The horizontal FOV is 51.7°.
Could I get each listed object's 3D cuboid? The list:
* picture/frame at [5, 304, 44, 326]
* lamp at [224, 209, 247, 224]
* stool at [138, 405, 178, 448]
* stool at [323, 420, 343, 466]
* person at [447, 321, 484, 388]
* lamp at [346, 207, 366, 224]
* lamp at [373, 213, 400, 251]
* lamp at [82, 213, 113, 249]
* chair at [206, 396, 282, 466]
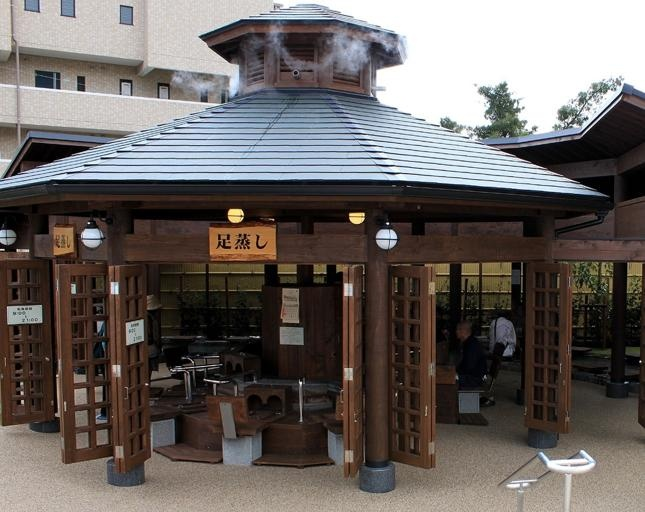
[{"bbox_3d":[-4.972,0.979,11.090,0.563,0.358,0.150,-3,5,-30],"label":"picture/frame"},{"bbox_3d":[-1.288,-0.583,9.864,0.340,0.263,0.320,0,1,2],"label":"lamp"},{"bbox_3d":[-2.566,2.802,10.657,0.598,0.435,0.615,-11,-15,18],"label":"stool"},{"bbox_3d":[0.174,2.764,9.918,0.225,0.569,0.471,-2,5,-20],"label":"stool"},{"bbox_3d":[2.647,1.804,12.348,0.858,1.115,0.806,-5,3,26],"label":"person"},{"bbox_3d":[0.531,-0.627,10.427,0.350,0.226,0.329,0,1,0],"label":"lamp"},{"bbox_3d":[0.993,-0.273,8.879,0.424,0.503,0.426,1,1,38],"label":"lamp"},{"bbox_3d":[-3.197,-0.312,9.410,0.388,0.519,0.924,-2,5,-19],"label":"lamp"},{"bbox_3d":[-1.177,2.651,10.228,0.873,0.916,1.399,-6,-11,21],"label":"chair"}]
